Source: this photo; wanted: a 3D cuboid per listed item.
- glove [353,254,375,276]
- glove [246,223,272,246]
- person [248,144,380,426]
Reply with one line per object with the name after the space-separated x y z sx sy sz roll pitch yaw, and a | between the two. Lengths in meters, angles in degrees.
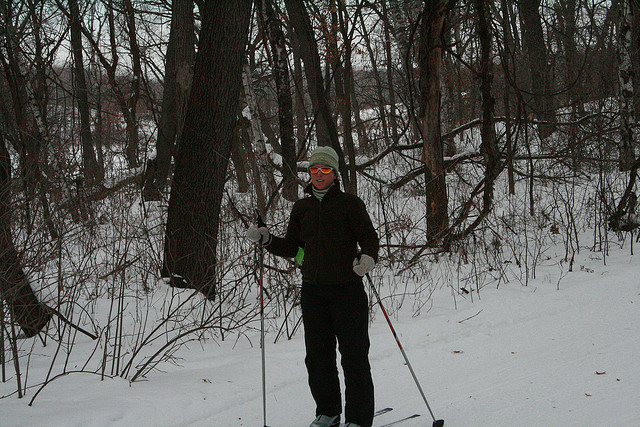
0.599 0.715 8.716 0.296 0.293 0.160 -5 4 3 | glove
-0.871 0.305 9.233 0.326 0.229 0.247 33 -36 -5 | glove
0.146 1.024 8.935 1.416 3.881 0.613 -5 4 4 | person
